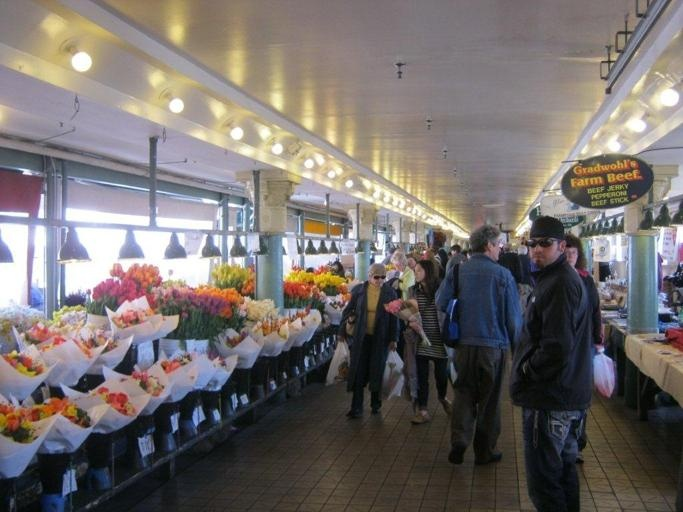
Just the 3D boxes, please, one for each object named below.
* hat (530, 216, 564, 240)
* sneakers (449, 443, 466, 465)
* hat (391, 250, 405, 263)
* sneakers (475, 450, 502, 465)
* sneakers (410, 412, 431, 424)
[{"bbox_3d":[1.524,-0.198,3.947,0.177,0.141,0.191,6,7,1],"label":"hat"},{"bbox_3d":[1.059,1.847,4.905,0.119,0.234,0.154,10,-2,10],"label":"sneakers"},{"bbox_3d":[0.880,0.015,8.246,0.157,0.203,0.197,1,-15,-3],"label":"hat"},{"bbox_3d":[1.394,1.914,5.010,0.285,0.127,0.099,-10,12,-36],"label":"sneakers"},{"bbox_3d":[0.910,1.882,6.073,0.092,0.117,0.271,-8,-15,30],"label":"sneakers"}]
